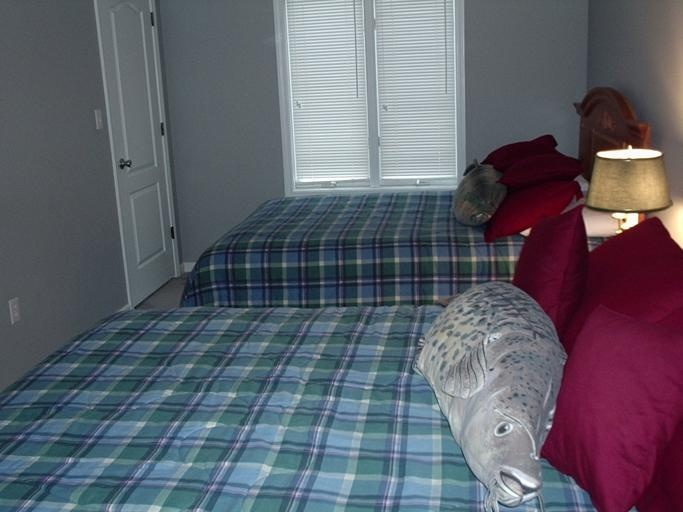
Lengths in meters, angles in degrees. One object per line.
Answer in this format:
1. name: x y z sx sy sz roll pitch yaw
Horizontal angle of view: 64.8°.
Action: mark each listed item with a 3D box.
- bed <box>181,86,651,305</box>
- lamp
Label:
1. bed: 0.453 -0.211 3.339 2.146 1.032 1.468 3 24 7
2. lamp: 1.330 -0.291 2.565 0.379 0.432 0.377 0 19 9
